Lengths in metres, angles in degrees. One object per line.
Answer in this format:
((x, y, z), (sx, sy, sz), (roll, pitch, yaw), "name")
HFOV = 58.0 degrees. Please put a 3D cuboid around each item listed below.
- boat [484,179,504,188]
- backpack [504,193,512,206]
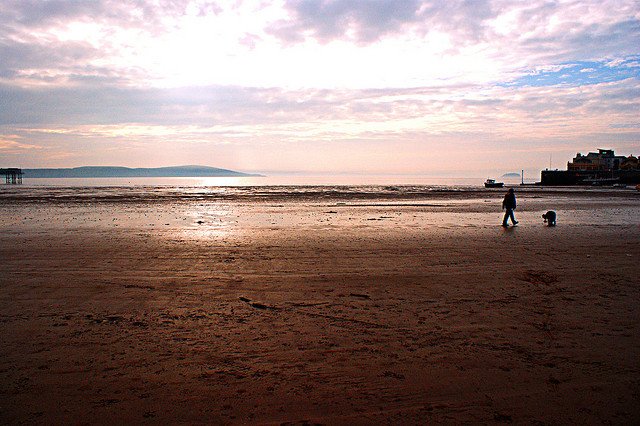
((28.828, -4.708, 93.114), (4.883, 1.249, 2.049), (1, -1, -25), "boat")
((7.847, -0.515, 23.888), (0.310, 0.460, 0.329), (3, 6, 25), "backpack")
